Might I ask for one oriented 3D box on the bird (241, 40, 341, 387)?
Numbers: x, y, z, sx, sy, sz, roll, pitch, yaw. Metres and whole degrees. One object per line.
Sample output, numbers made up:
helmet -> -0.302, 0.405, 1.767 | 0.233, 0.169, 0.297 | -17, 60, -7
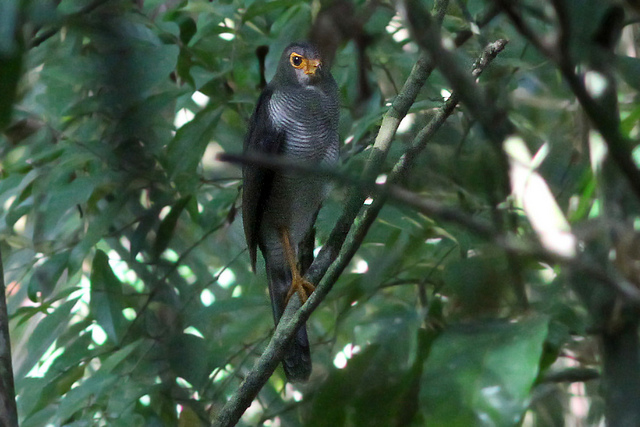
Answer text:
bird -> -0.101, -0.019, 2.497 | 0.263, 0.882, 0.875 | 5, -49, -9
